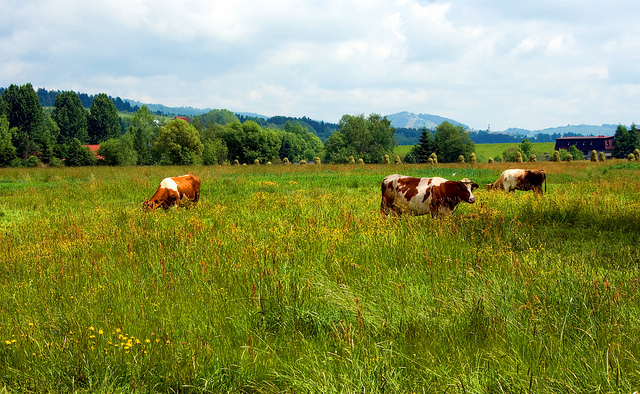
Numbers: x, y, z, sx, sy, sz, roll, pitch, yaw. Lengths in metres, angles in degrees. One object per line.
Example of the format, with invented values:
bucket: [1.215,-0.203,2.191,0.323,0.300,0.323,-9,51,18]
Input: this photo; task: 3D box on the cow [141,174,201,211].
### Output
cow: [-6.256,0.058,25.575,0.972,1.812,3.235,0,10,32]

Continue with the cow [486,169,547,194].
cow: [9.996,-0.830,29.837,2.560,1.099,1.426,3,6,22]
